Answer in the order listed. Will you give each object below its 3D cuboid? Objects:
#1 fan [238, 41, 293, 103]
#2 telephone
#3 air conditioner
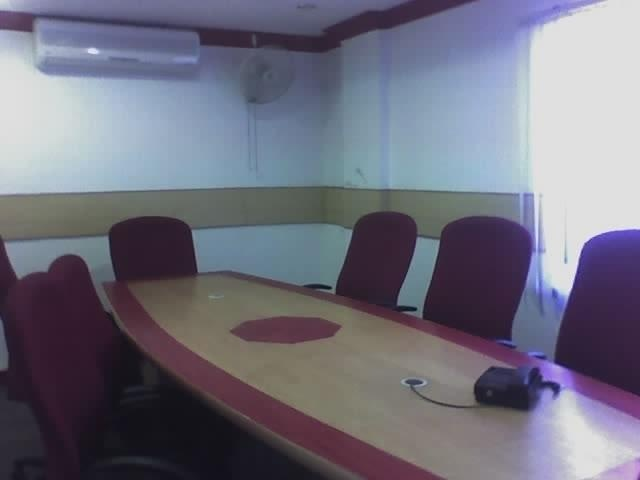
[{"bbox_3d":[-0.526,-1.693,4.927,0.481,0.523,0.130,8,19,-20],"label":"fan"},{"bbox_3d":[0.640,0.487,1.662,0.199,0.080,0.230,3,12,27],"label":"telephone"},{"bbox_3d":[-1.835,-1.747,4.487,1.399,0.416,0.365,-7,11,-23],"label":"air conditioner"}]
